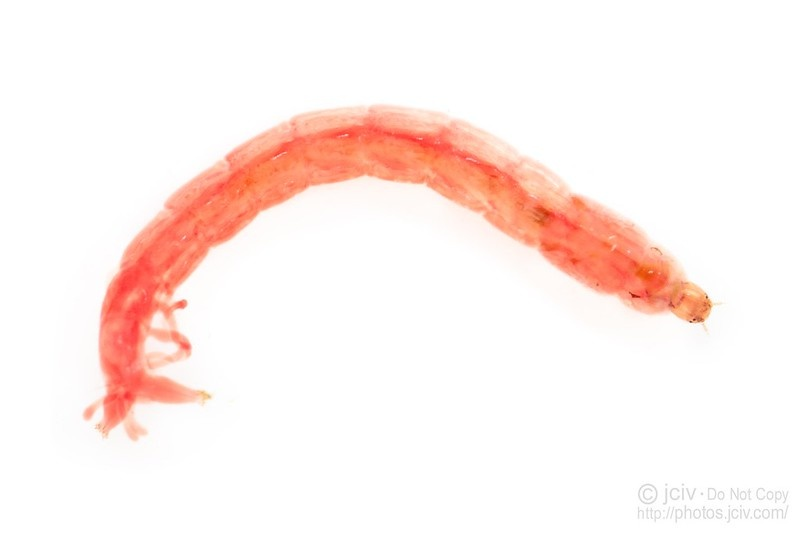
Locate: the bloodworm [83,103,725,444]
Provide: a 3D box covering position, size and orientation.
[{"bbox_3d":[-0.342,-0.266,8.881,5.426,1.510,2.409,-6,67,-11],"label":"bloodworm"}]
